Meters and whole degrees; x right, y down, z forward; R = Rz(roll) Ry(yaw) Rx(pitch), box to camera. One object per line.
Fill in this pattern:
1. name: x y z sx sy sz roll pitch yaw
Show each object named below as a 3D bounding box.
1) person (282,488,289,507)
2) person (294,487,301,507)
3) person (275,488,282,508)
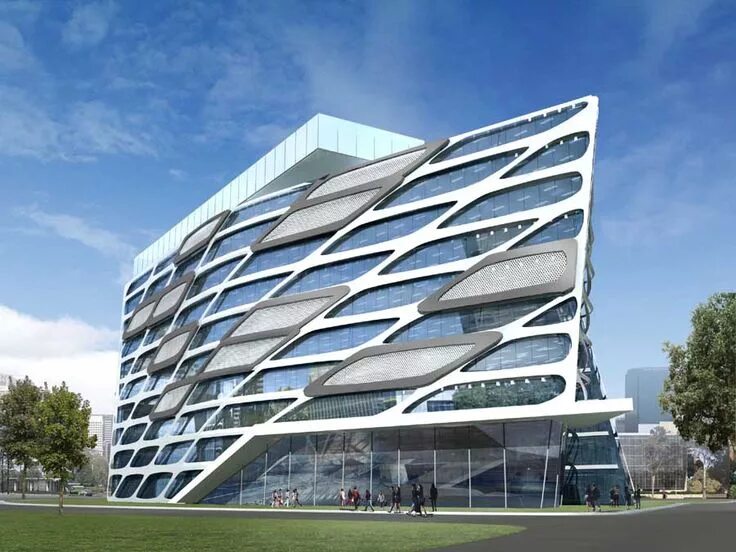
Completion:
1. person: -6.579 17.803 59.582 0.661 1.265 0.322 -4 -15 6
2. person: -5.596 17.658 59.092 0.521 1.264 0.330 1 -15 -13
3. person: -7.189 17.856 59.657 0.516 1.310 0.596 1 -15 -12
